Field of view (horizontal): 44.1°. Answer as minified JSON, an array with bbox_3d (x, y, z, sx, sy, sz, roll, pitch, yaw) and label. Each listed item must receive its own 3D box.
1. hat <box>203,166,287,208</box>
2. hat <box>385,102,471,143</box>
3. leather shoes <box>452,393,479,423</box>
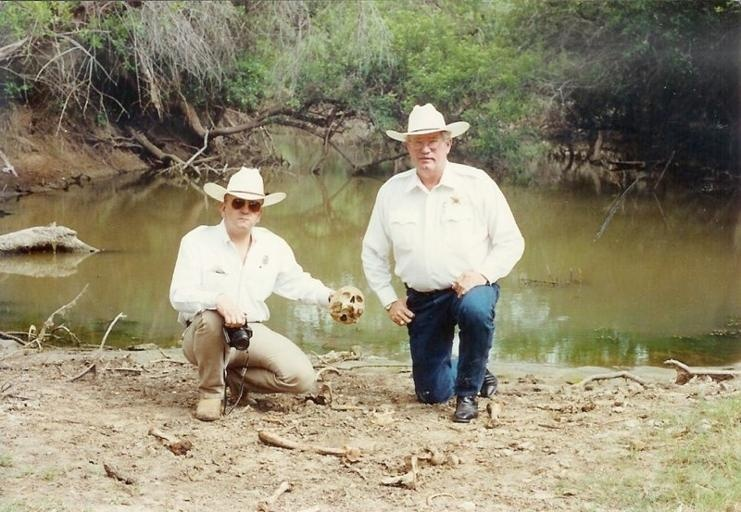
[{"bbox_3d":[-1.353,-0.711,9.789,0.548,0.226,0.593,10,-10,-8],"label":"hat"},{"bbox_3d":[0.676,-1.455,9.902,0.620,0.383,0.584,2,0,-13],"label":"hat"},{"bbox_3d":[0.996,1.587,9.528,0.270,0.267,0.207,2,0,5],"label":"leather shoes"}]
